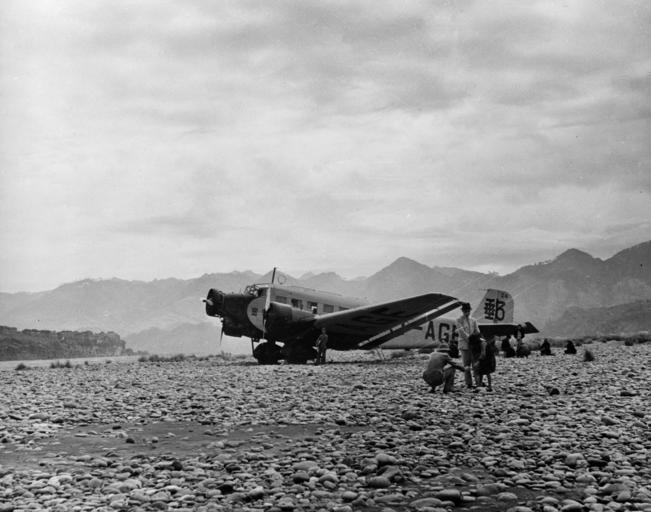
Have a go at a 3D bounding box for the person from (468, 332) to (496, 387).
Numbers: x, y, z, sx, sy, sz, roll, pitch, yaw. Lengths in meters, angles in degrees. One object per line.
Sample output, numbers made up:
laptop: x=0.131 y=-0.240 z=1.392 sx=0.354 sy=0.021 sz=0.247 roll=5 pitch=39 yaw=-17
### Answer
person: x=3.574 y=2.387 z=15.421 sx=0.521 sy=1.224 sz=1.835 roll=-4 pitch=-6 yaw=12

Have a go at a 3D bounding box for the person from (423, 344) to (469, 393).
person: x=2.611 y=2.565 z=15.171 sx=1.012 sy=1.062 sz=0.843 roll=-6 pitch=19 yaw=-35
